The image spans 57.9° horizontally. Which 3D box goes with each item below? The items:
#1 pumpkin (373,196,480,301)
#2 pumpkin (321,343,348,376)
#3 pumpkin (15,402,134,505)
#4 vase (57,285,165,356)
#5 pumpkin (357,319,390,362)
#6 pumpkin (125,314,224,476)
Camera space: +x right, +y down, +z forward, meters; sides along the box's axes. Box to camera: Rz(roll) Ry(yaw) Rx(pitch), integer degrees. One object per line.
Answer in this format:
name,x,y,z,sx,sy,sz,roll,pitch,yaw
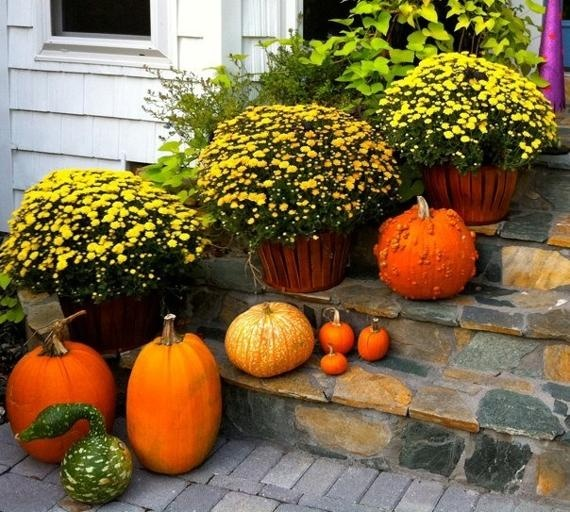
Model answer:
pumpkin,0.672,-0.068,2.586,0.553,0.462,0.489,-9,13,-36
pumpkin,0.222,0.458,2.362,0.132,0.129,0.153,3,16,17
pumpkin,-0.803,0.754,2.024,0.419,0.377,0.236,3,17,16
vase,-0.869,0.314,2.615,0.376,0.184,0.396,-1,2,4
pumpkin,0.411,0.392,2.411,0.146,0.206,0.121,1,16,10
pumpkin,-0.455,0.568,2.128,0.395,0.682,0.222,-7,17,-17
